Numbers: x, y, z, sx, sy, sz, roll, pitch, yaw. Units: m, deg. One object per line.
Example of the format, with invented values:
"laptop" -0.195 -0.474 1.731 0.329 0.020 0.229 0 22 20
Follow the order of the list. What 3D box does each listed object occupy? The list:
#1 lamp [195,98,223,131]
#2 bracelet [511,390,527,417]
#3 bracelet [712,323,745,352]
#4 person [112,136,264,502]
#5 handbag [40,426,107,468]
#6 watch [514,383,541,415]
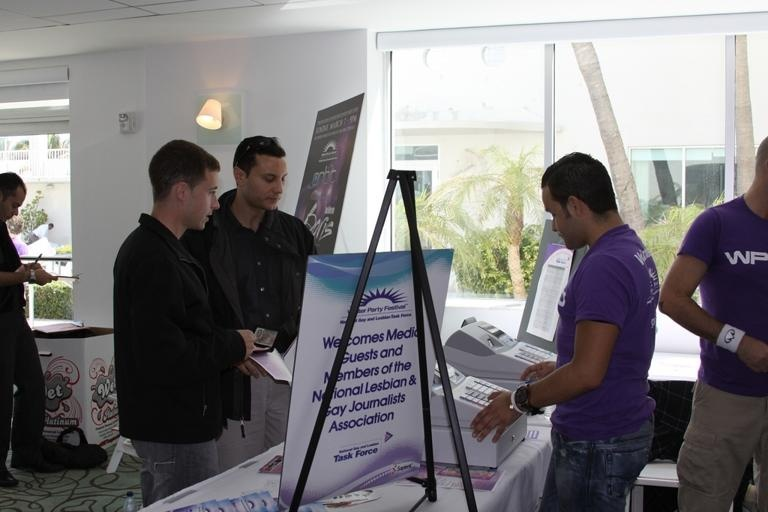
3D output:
"lamp" -1.797 -1.427 5.755 0.310 0.314 0.133 -1 4 21
"bracelet" 0.506 0.540 2.090 0.061 0.102 0.094 3 -4 22
"bracelet" 1.458 0.350 2.393 0.103 0.113 0.037 0 4 31
"person" -0.855 0.288 2.436 0.551 1.584 0.309 -4 4 -28
"handbag" -2.477 1.557 4.552 0.410 0.175 0.308 14 7 5
"watch" 0.530 0.531 2.100 0.094 0.064 0.099 40 -28 -9
